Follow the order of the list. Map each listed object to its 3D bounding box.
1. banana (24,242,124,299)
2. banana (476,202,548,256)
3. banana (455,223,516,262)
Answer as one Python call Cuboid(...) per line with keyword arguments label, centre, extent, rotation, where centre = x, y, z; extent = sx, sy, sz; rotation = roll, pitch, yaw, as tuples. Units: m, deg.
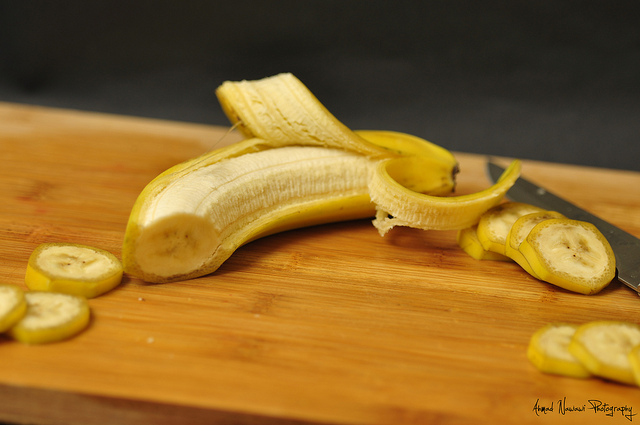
Cuboid(label="banana", centre=(-0.841, 0.195, 2.335), extent=(0.309, 0.101, 0.224), rotation=(12, 46, 11))
Cuboid(label="banana", centre=(0.710, 0.059, 2.550), extent=(0.216, 0.052, 0.211), rotation=(-31, 54, -31))
Cuboid(label="banana", centre=(0.638, 0.113, 2.592), extent=(0.161, 0.034, 0.153), rotation=(-4, 36, -19))
